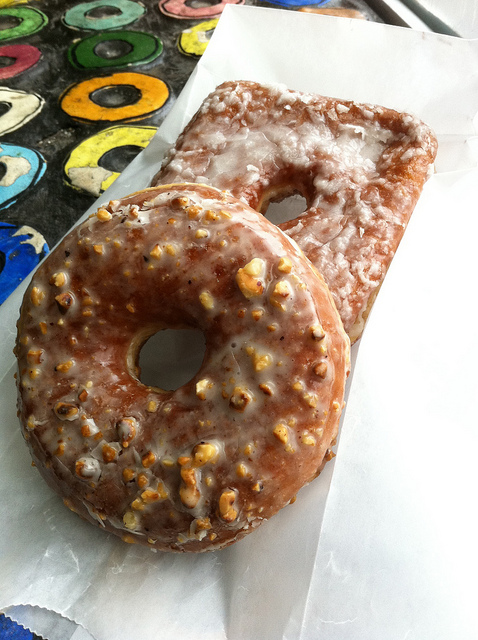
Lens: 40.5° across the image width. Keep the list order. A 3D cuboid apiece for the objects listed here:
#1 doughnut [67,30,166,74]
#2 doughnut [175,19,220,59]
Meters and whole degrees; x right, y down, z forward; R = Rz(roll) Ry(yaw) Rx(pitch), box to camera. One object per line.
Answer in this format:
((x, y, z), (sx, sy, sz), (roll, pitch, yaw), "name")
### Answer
((-0.339, -0.747, 1.794), (0.272, 0.034, 0.190), (-7, 50, -14), "doughnut")
((-0.117, -0.832, 1.863), (0.022, 0.106, 0.158), (43, 39, 21), "doughnut")
